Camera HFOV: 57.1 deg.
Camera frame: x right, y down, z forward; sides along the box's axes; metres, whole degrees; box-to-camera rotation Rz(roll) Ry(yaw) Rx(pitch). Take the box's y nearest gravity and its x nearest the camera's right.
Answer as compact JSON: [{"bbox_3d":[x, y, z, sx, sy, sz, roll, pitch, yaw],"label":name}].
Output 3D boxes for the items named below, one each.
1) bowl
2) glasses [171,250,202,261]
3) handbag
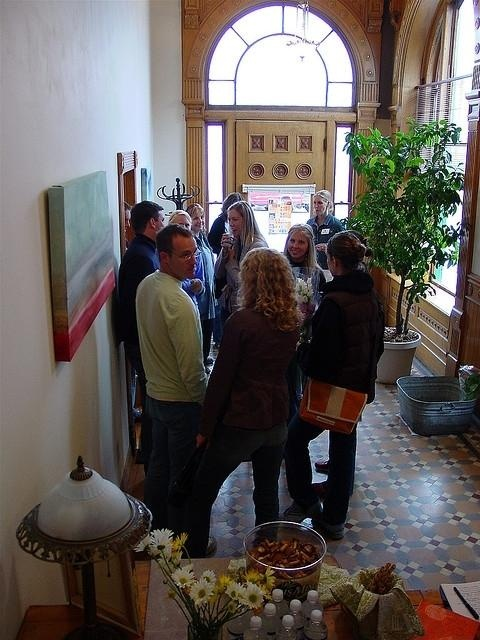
[{"bbox_3d":[0.112,0.528,1.103,0.170,0.167,0.214,4,0,10],"label":"bowl"},{"bbox_3d":[-0.263,-0.310,2.118,0.121,0.051,0.039,-8,14,-32],"label":"glasses"},{"bbox_3d":[0.499,0.473,2.432,0.333,0.350,0.160,16,9,2],"label":"handbag"}]
